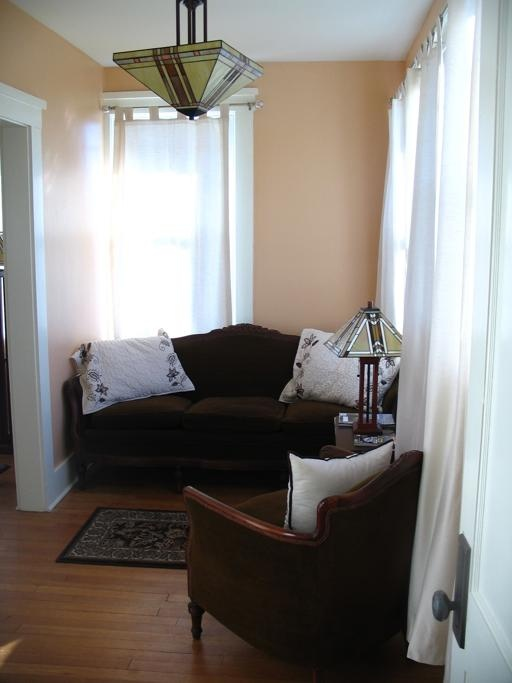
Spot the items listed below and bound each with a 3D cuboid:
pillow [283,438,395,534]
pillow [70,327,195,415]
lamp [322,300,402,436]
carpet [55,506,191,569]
[{"bbox_3d":[0.269,0.446,1.706,0.266,0.273,0.104,5,1,-7],"label":"pillow"},{"bbox_3d":[-0.798,0.191,3.522,0.536,0.482,0.136,-10,-23,-39],"label":"pillow"},{"bbox_3d":[0.506,0.121,2.652,0.322,0.642,0.681,0,8,9],"label":"lamp"},{"bbox_3d":[-0.614,0.966,2.802,0.640,0.015,0.577,0,8,6],"label":"carpet"}]
